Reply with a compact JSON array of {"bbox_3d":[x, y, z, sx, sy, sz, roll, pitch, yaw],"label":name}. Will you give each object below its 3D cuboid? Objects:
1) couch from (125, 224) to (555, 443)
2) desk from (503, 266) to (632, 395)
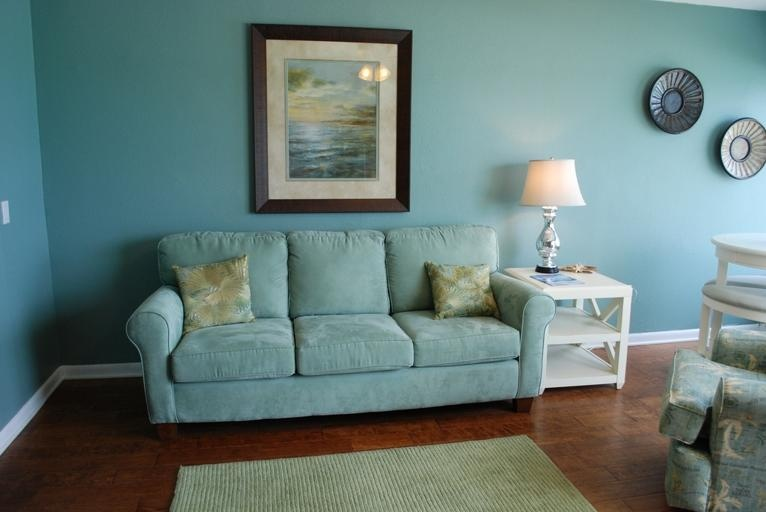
[{"bbox_3d":[-0.283,0.468,4.513,2.913,1.117,0.989,-2,18,-14],"label":"couch"},{"bbox_3d":[1.336,0.553,4.834,0.987,0.802,0.950,-3,10,-31],"label":"desk"}]
